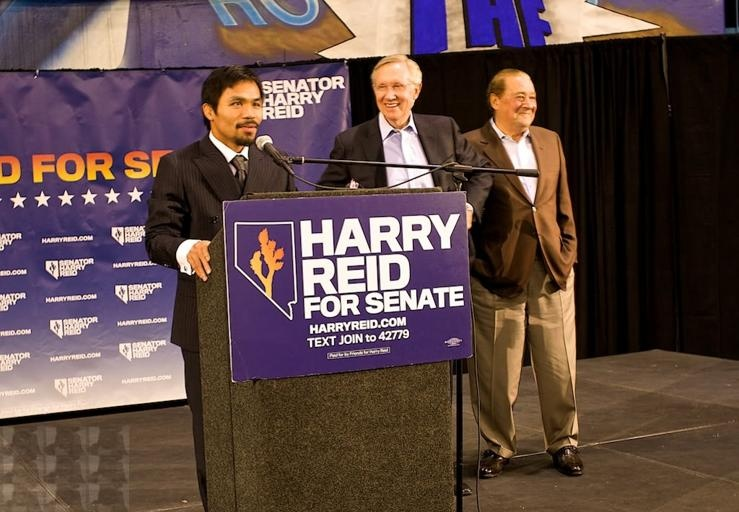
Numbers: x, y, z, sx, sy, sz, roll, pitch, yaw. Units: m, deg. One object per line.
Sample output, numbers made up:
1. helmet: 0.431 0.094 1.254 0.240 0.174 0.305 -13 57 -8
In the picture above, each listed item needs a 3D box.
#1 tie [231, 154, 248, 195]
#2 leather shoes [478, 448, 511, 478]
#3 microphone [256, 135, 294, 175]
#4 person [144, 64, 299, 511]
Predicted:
1. tie: -0.677 -0.420 4.153 0.099 0.187 0.043 -1 -9 -19
2. leather shoes: 0.861 1.391 5.275 0.136 0.165 0.348 -6 -12 32
3. microphone: -0.455 -0.490 3.744 0.101 0.092 0.341 -25 45 -13
4. person: -0.775 0.172 4.112 0.812 2.259 0.773 -10 12 -44
